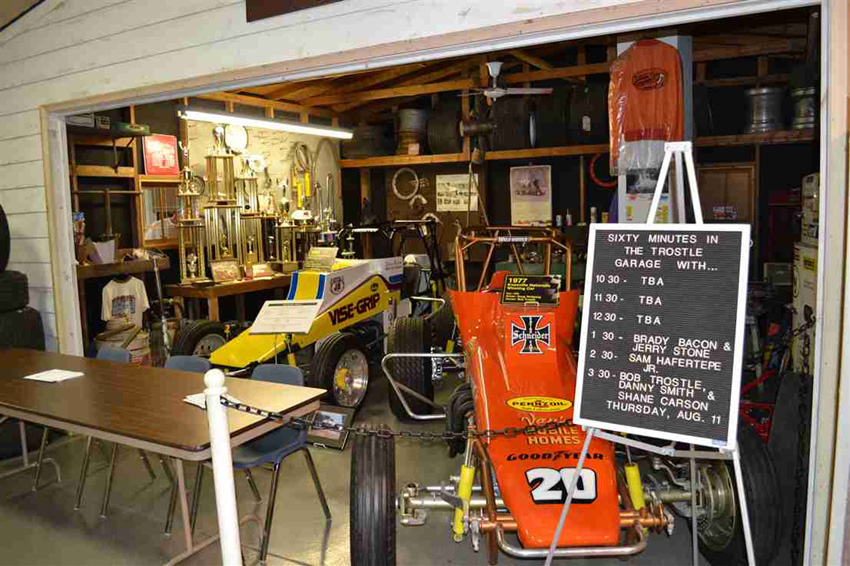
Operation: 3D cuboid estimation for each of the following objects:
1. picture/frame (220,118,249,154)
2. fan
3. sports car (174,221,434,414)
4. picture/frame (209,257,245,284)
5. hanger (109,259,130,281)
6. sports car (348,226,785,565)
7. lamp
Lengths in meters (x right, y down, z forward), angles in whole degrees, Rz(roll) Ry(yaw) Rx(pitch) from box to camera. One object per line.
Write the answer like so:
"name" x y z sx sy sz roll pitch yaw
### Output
"picture/frame" -2.387 -1.835 8.608 0.091 0.378 0.393 0 -9 37
"fan" 0.883 -2.350 7.681 1.125 0.426 1.205 0 7 13
"sports car" -0.779 0.178 7.399 2.079 1.729 3.332 0 10 33
"picture/frame" -2.322 -0.138 7.934 0.027 0.231 0.336 -22 -10 32
"hanger" -3.258 -0.134 7.320 0.206 0.277 0.069 -1 -5 5
"sports car" 0.797 0.999 5.185 2.060 1.226 2.709 1 23 3
"lamp" -1.928 -2.005 8.387 1.103 0.327 3.476 4 7 18
